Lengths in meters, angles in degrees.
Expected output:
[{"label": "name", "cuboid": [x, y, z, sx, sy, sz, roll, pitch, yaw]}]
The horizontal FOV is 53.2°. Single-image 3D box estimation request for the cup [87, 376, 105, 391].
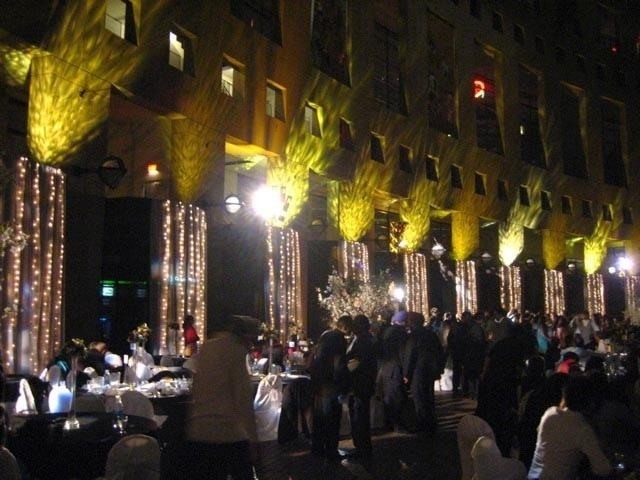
[{"label": "cup", "cuboid": [-3.620, 2.290, 10.237, 0.211, 0.238, 0.228, 1, -10, 0]}]
